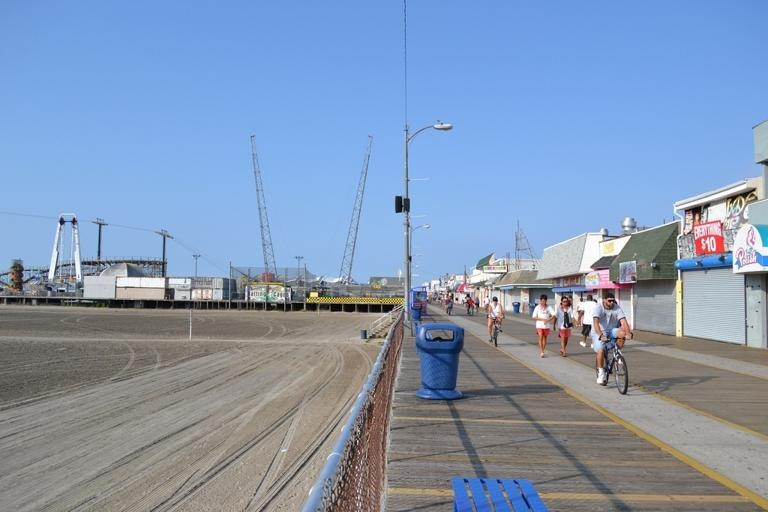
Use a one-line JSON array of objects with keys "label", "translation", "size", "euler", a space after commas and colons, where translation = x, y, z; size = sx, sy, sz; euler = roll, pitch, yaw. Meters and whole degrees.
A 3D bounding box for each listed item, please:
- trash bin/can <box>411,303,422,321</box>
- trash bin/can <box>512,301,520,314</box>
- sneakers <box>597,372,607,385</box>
[{"label": "trash bin/can", "translation": [2.337, 3.782, 46.465], "size": [1.016, 1.458, 1.051], "euler": [1, -3, -5]}, {"label": "trash bin/can", "translation": [12.100, 4.728, 62.701], "size": [0.848, 0.927, 0.878], "euler": [-5, -5, 41]}, {"label": "sneakers", "translation": [6.228, 3.480, 19.578], "size": [0.219, 0.397, 0.175], "euler": [10, 5, 18]}]
